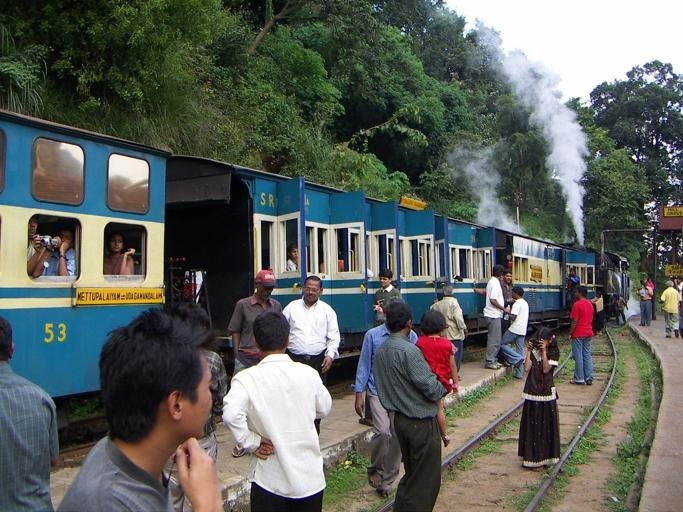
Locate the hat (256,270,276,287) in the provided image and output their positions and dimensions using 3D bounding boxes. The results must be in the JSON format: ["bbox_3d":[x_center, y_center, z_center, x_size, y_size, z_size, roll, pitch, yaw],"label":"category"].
[{"bbox_3d":[-0.920,0.265,6.572,0.144,0.140,0.221,3,7,-25],"label":"hat"}]

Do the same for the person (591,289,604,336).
[{"bbox_3d":[10.350,2.338,22.311,0.506,0.566,1.743,14,-28,24],"label":"person"}]
